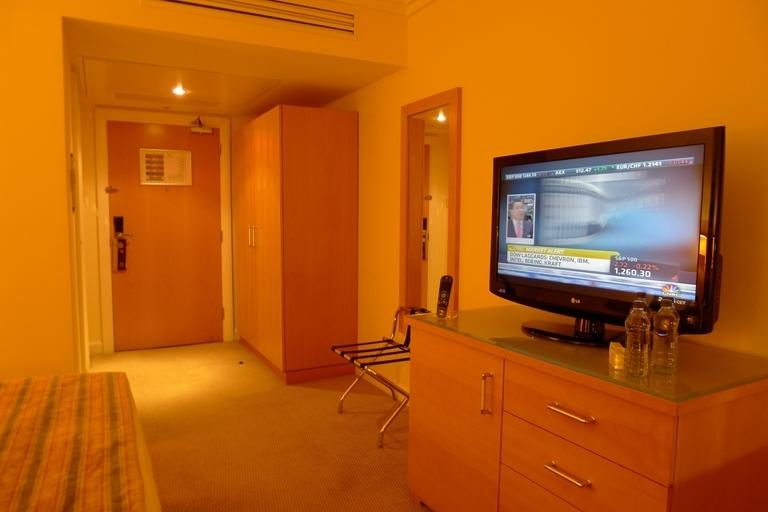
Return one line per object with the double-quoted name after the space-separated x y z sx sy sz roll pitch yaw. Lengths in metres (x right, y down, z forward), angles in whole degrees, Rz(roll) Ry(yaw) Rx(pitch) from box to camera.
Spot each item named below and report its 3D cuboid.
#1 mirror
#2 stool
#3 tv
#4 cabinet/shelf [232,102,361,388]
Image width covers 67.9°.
0.329 -0.374 4.099 0.244 1.596 0.811 -3 11 -18 "mirror"
-0.096 0.808 4.414 0.604 0.799 0.693 -4 -8 -6 "stool"
1.023 -0.069 2.798 0.271 0.954 1.203 -5 7 -37 "tv"
-0.926 -0.173 5.706 0.792 2.320 1.762 -1 4 -27 "cabinet/shelf"
